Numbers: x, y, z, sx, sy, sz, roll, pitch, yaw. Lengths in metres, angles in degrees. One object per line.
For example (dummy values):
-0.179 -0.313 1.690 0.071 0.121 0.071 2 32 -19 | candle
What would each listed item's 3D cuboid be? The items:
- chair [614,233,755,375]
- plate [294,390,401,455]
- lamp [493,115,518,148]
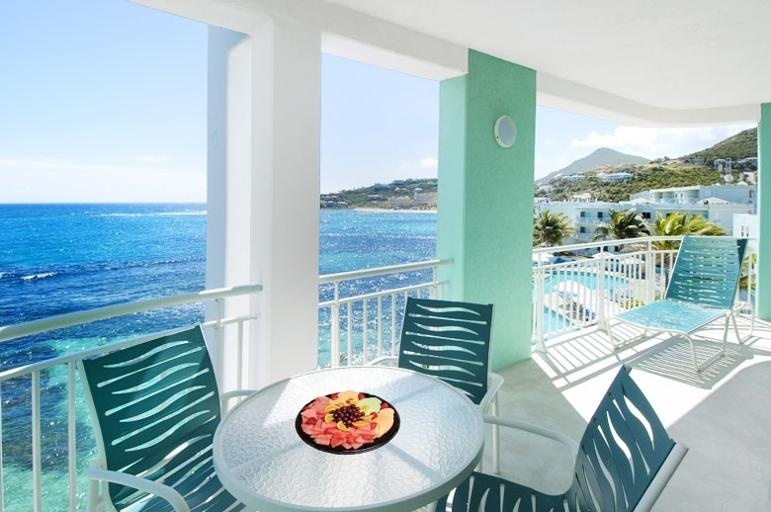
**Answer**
3.488 0.497 5.444 1.643 1.076 0.893 -14 11 -32 | chair
-0.223 0.892 2.642 0.516 0.506 0.138 14 21 -9 | plate
1.287 -1.302 4.947 0.355 0.331 0.100 -10 13 -38 | lamp
